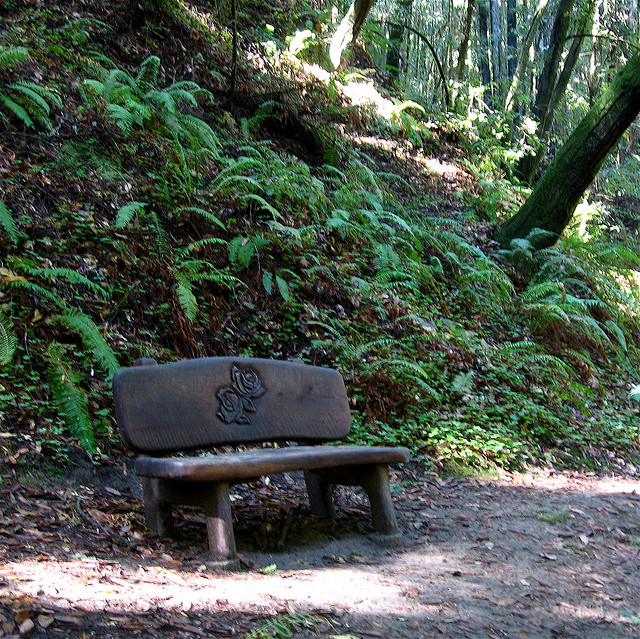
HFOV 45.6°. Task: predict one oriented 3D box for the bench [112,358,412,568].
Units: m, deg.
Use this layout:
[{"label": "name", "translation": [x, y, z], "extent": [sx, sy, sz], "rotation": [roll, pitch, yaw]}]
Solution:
[{"label": "bench", "translation": [-0.486, 0.870, 5.932], "extent": [2.258, 1.263, 2.545], "rotation": [3, 8, -20]}]
